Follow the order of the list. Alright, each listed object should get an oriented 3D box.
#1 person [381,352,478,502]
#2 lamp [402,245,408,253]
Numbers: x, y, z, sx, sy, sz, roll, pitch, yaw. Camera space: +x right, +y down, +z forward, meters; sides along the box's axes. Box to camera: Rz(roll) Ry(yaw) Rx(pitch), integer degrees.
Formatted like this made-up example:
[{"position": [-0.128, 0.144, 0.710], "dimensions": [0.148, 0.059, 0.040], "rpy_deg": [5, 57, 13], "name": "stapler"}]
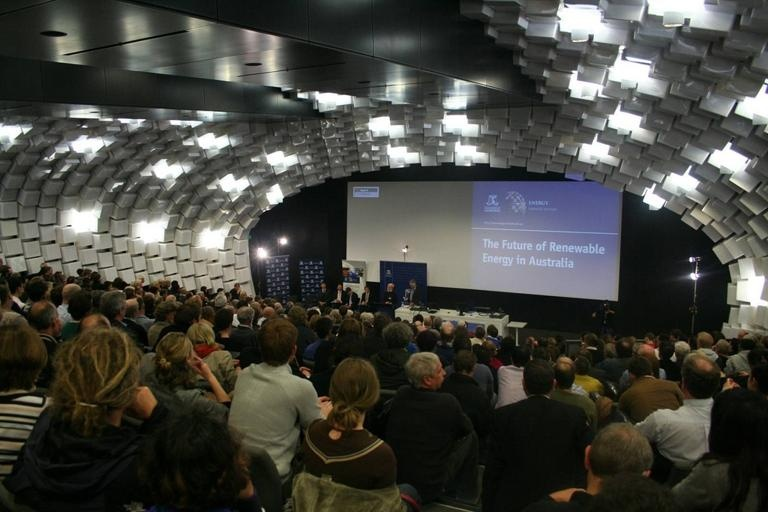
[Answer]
[{"position": [0.351, 1.388, 4.265], "dimensions": [0.665, 1.210, 0.240], "rpy_deg": [0, -6, 7], "name": "person"}, {"position": [0.644, -0.228, 16.035], "dimensions": [0.142, 0.212, 0.202], "rpy_deg": [2, 15, -3], "name": "lamp"}]
